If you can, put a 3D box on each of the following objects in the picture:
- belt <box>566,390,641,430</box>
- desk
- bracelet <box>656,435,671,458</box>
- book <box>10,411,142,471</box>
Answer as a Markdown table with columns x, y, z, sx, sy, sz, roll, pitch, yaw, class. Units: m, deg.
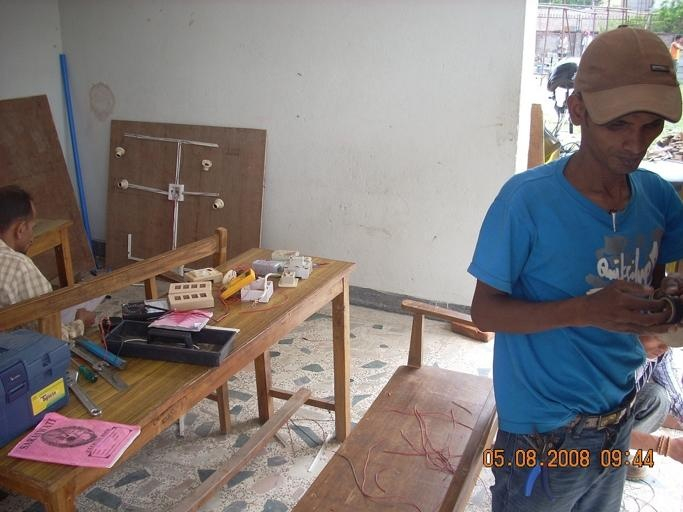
| x | y | z | sx | sy | sz | roll | pitch | yaw | class |
| --- | --- | --- | --- | --- | --- | --- | --- | --- | --- |
| 0.899 | 0.548 | 1.735 | 0.154 | 0.036 | 0.151 | -4 | 1 | -38 | belt |
| -0.822 | 0.718 | 2.801 | 0.469 | 0.817 | 1.436 | 9 | 19 | 24 | desk |
| 1.758 | 1.057 | 2.796 | 0.040 | 0.097 | 0.097 | 5 | -27 | 9 | bracelet |
| -1.010 | 0.712 | 1.948 | 0.407 | 0.108 | 0.215 | 0 | 13 | 7 | book |
